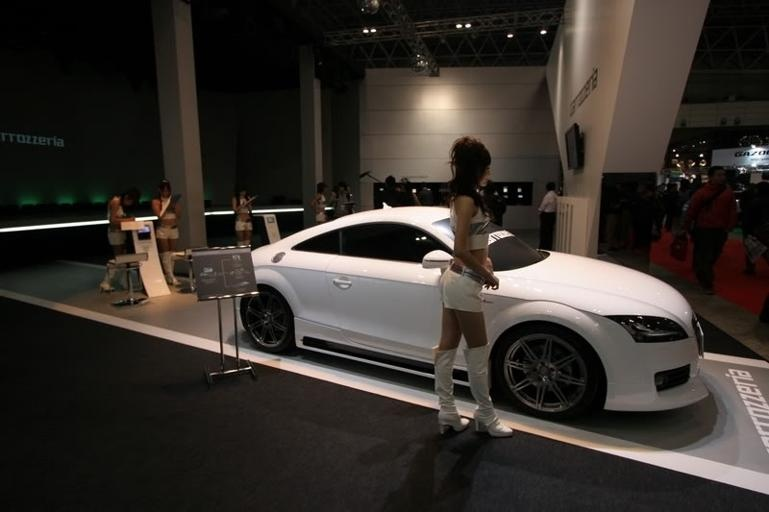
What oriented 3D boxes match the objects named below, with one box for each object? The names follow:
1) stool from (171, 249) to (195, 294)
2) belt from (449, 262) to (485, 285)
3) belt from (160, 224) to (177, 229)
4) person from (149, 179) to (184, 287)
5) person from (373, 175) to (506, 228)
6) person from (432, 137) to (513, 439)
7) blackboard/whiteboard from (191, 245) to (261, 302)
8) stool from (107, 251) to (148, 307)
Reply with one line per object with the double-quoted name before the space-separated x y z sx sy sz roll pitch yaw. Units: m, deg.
"stool" -3.525 0.253 8.270 0.341 0.771 0.408 -5 -1 26
"belt" 0.721 0.147 3.990 0.313 0.179 0.104 3 11 14
"belt" -4.047 -0.554 8.498 0.258 0.076 0.084 -7 13 -28
"person" -4.030 -0.456 8.495 0.398 1.882 0.711 -10 14 -42
"person" 0.817 -0.945 7.407 2.273 1.156 1.221 0 4 11
"person" 0.783 0.286 4.091 0.622 2.652 0.383 1 10 7
"blackboard/whiteboard" -1.750 0.190 5.062 0.633 0.615 0.090 -6 -9 -24
"stool" -4.337 0.388 7.653 0.581 0.901 0.605 -7 21 -39
